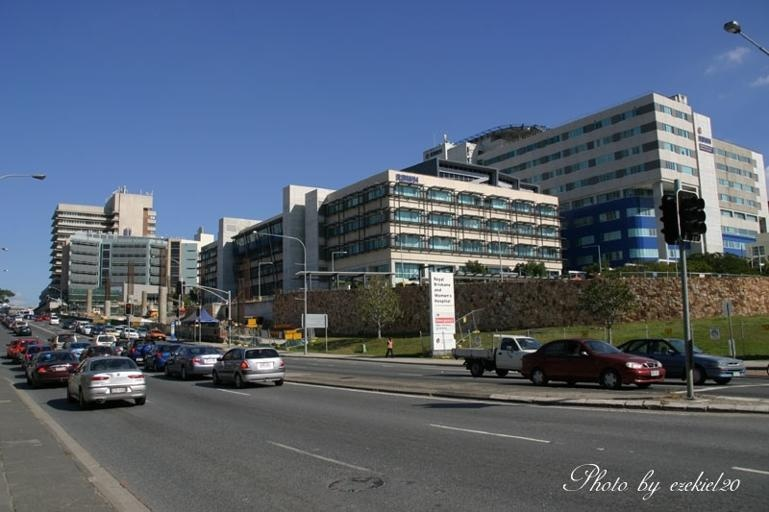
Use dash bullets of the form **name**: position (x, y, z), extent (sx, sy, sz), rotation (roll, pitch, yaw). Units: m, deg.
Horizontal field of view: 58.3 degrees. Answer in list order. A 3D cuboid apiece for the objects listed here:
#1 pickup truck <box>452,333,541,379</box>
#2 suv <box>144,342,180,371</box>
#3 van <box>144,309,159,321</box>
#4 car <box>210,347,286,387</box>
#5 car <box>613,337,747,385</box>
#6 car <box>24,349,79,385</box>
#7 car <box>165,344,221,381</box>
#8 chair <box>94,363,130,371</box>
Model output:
- **pickup truck**: position (6.309, 5.086, 35.169), extent (2.865, 1.900, 5.544), rotation (0, -5, -36)
- **suv**: position (-13.408, 6.062, 41.281), extent (1.556, 1.112, 3.334), rotation (2, -5, -24)
- **van**: position (-43.947, 11.040, 129.484), extent (1.363, 1.798, 1.433), rotation (5, -10, -33)
- **car**: position (-6.329, 5.196, 31.787), extent (2.032, 1.707, 4.271), rotation (1, -4, -31)
- **car**: position (12.967, 4.627, 29.935), extent (2.372, 1.911, 5.945), rotation (2, -4, -36)
- **car**: position (-16.048, 5.390, 33.222), extent (1.907, 1.535, 4.594), rotation (2, -4, -34)
- **car**: position (-10.080, 5.620, 36.031), extent (2.031, 1.593, 4.888), rotation (1, -4, -32)
- **chair**: position (-10.563, 4.257, 26.496), extent (1.706, 0.254, 0.384), rotation (2, -3, -16)
